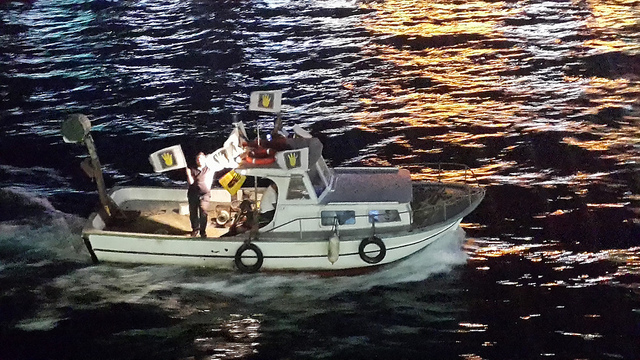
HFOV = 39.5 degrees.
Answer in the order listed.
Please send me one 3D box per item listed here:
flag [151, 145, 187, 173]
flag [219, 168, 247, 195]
[{"bbox_3d":[-7.067,-0.945,40.662,0.541,1.143,1.835,-3,14,43],"label":"flag"},{"bbox_3d":[-3.956,-0.075,40.947,1.347,0.917,0.491,-34,11,-11],"label":"flag"}]
